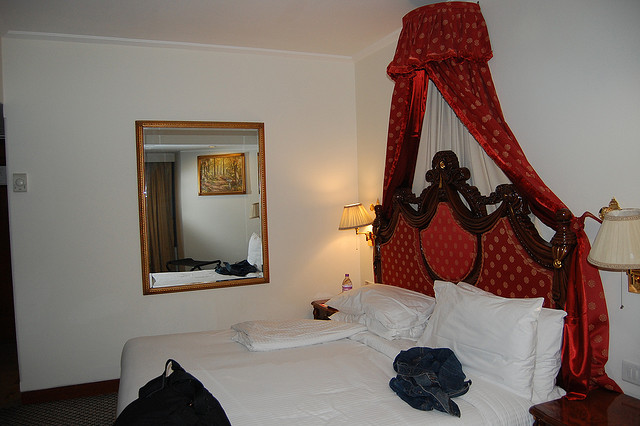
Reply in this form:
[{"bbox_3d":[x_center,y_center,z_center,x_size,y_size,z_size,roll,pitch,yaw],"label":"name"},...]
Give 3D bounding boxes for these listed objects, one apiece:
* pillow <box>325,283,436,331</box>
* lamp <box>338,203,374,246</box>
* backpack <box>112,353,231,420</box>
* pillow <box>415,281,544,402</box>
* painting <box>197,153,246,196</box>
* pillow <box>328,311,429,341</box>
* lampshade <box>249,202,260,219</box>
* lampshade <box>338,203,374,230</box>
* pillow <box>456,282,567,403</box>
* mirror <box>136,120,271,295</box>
[{"bbox_3d":[0.582,0.866,3.947,0.498,0.161,0.554,-3,3,-34],"label":"pillow"},{"bbox_3d":[0.414,0.122,5.153,0.421,0.652,0.458,-1,1,4],"label":"lamp"},{"bbox_3d":[-0.911,1.169,2.733,0.691,0.189,0.441,3,15,18],"label":"backpack"},{"bbox_3d":[1.185,0.953,3.127,0.253,0.530,0.716,2,5,-39],"label":"pillow"},{"bbox_3d":[-1.147,-0.443,4.866,0.445,0.401,0.045,-3,5,-13],"label":"painting"},{"bbox_3d":[0.504,1.015,3.888,0.299,0.086,0.490,1,1,-36],"label":"pillow"},{"bbox_3d":[-0.742,-0.026,4.953,0.132,0.192,0.182,2,1,-1],"label":"lampshade"},{"bbox_3d":[0.410,0.066,5.084,0.453,0.286,0.471,-2,-9,-27],"label":"lampshade"},{"bbox_3d":[1.384,0.956,3.083,0.721,0.762,0.290,8,3,42],"label":"pillow"},{"bbox_3d":[-1.370,-0.076,4.784,1.778,2.453,0.084,-3,4,-16],"label":"mirror"}]
